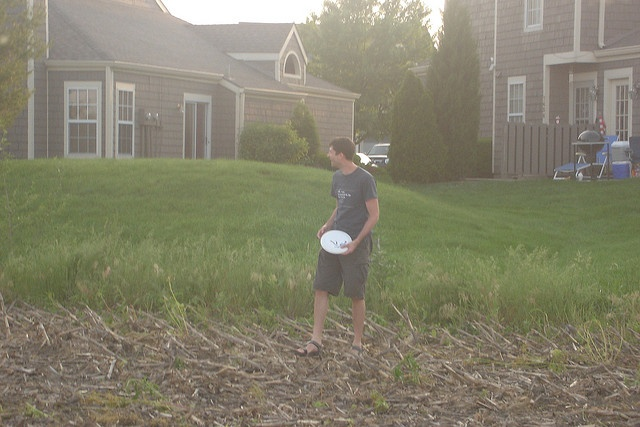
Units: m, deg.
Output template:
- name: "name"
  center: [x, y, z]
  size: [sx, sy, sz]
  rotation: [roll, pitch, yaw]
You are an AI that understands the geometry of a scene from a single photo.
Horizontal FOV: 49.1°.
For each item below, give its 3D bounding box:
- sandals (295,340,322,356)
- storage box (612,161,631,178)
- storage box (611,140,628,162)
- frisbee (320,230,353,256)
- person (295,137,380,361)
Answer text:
- name: "sandals"
  center: [-0.127, 1.602, 8.295]
  size: [0.347, 0.173, 0.134]
  rotation: [2, -2, -18]
- name: "storage box"
  center: [9.108, -1.341, 21.400]
  size: [0.578, 0.666, 0.467]
  rotation: [-3, -5, 39]
- name: "storage box"
  center: [9.021, -1.896, 21.249]
  size: [0.475, 0.588, 0.574]
  rotation: [1, 0, 7]
- name: "frisbee"
  center: [0.172, 0.360, 8.333]
  size: [0.387, 0.288, 0.238]
  rotation: [5, 12, 4]
- name: "person"
  center: [0.277, 0.377, 8.376]
  size: [0.738, 2.473, 0.885]
  rotation: [4, 11, 5]
